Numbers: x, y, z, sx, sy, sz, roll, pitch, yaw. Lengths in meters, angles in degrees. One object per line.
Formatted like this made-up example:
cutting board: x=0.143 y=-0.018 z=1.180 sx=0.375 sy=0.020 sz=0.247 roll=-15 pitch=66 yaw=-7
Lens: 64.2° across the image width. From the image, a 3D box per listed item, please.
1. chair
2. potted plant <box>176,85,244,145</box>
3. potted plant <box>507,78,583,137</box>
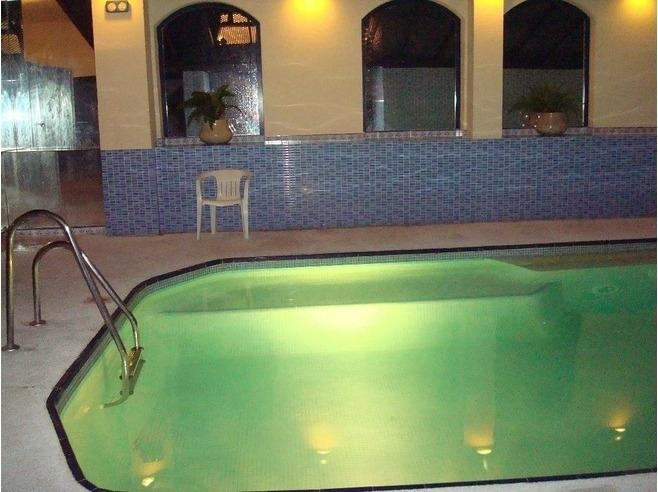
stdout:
chair: x=-1.375 y=-0.532 z=6.846 sx=0.687 sy=0.906 sz=0.823 roll=-2 pitch=2 yaw=-9
potted plant: x=-1.596 y=-1.803 z=7.222 sx=0.746 sy=0.857 sz=0.649 roll=-2 pitch=2 yaw=-9
potted plant: x=3.242 y=-1.940 z=7.794 sx=0.842 sy=0.762 sz=0.813 roll=-3 pitch=-3 yaw=-43
